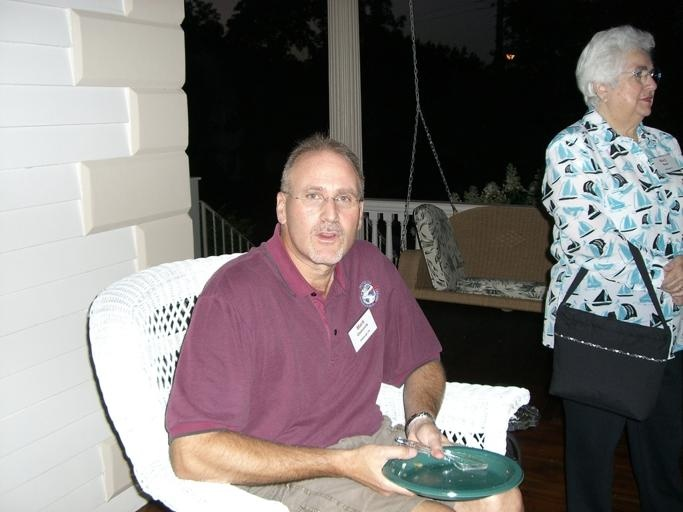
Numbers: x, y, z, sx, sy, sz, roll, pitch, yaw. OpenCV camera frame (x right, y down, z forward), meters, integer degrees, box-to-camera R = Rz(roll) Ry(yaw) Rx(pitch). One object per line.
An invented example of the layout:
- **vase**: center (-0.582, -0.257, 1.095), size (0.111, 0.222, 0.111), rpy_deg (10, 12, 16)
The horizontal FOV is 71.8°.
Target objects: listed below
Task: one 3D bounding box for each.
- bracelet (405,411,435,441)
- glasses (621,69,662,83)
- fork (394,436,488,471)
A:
- **bracelet**: center (0.274, 0.581, 1.640), size (0.084, 0.036, 0.091), rpy_deg (-11, -26, -21)
- **glasses**: center (1.209, -0.728, 1.920), size (0.066, 0.026, 0.070), rpy_deg (0, 11, -15)
- **fork**: center (0.304, 0.596, 1.439), size (0.257, 0.038, 0.099), rpy_deg (14, 5, 26)
